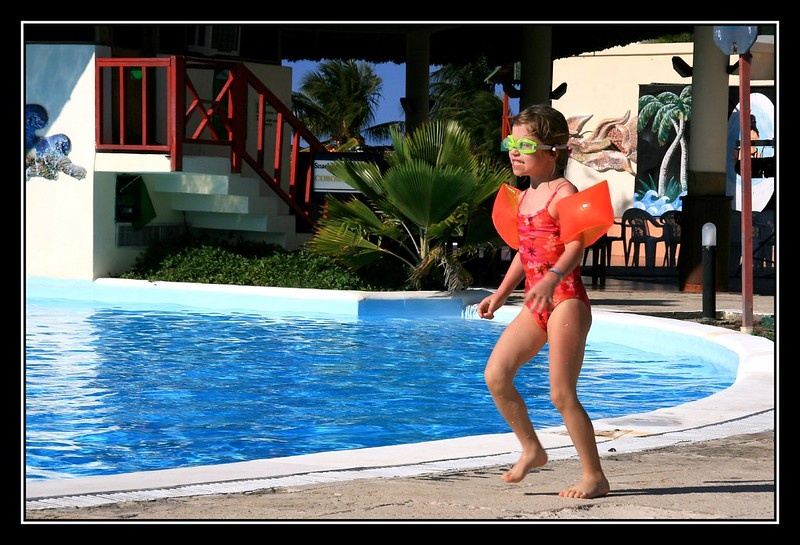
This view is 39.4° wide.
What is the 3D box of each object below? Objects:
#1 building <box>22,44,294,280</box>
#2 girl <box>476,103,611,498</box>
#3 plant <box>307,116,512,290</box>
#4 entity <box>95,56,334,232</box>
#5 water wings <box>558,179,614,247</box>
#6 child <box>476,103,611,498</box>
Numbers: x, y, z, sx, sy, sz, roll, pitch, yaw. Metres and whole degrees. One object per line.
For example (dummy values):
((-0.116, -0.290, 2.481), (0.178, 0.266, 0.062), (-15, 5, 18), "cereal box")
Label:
((-5.366, -1.843, 18.312), (2.441, 3.578, 4.169), (2, 7, -39), "building")
((0.843, 0.135, 6.804), (0.750, 2.314, 0.795), (-3, 7, 3), "girl")
((0.138, -0.727, 14.306), (2.578, 1.587, 2.645), (-4, 18, -24), "plant")
((-2.767, -2.216, 17.109), (2.040, 1.788, 4.000), (-3, -4, 37), "entity")
((1.096, -0.353, 6.571), (0.367, 0.356, 0.223), (-15, -17, 32), "water wings")
((0.843, 0.135, 6.804), (0.750, 2.314, 0.795), (-3, 7, 3), "child")
